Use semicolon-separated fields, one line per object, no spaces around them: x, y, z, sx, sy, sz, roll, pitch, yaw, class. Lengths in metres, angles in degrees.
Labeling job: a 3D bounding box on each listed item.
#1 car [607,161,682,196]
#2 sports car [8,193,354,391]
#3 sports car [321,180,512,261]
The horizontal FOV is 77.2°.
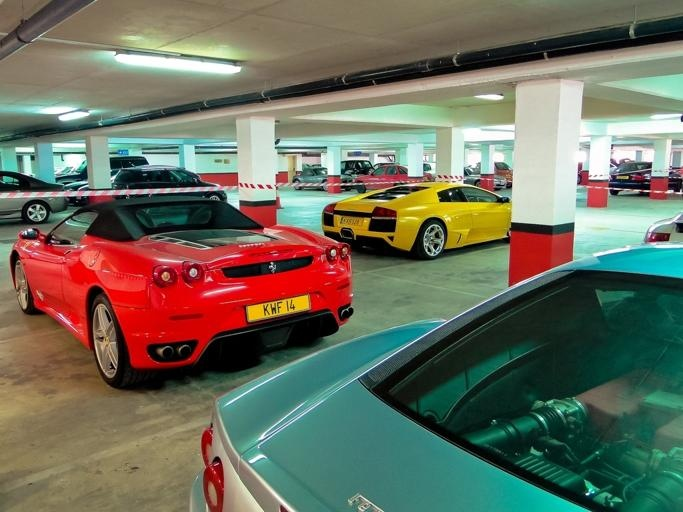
17.987;-4.581;25.183;6.142;1.344;2.604;-10;14;-30;car
-1.997;0.098;4.216;3.433;0.784;1.820;13;16;42;sports car
1.887;-0.821;8.861;3.624;0.653;2.016;-7;11;-34;sports car
